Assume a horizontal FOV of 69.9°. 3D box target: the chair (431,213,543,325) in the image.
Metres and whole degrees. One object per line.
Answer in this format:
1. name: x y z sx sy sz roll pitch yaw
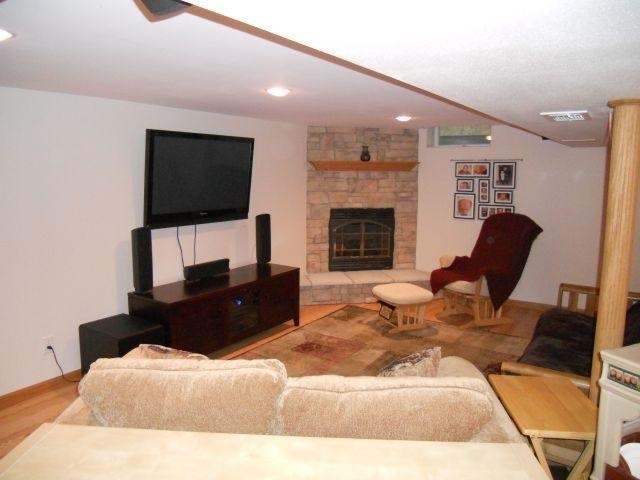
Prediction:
1. chair: 1.935 0.318 5.500 1.396 1.048 0.939 -11 12 -20

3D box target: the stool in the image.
1. stool: 0.981 0.714 5.152 0.643 0.393 0.661 -6 12 -22

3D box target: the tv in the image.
1. tv: -1.222 -0.622 4.497 0.140 0.798 1.388 22 16 36

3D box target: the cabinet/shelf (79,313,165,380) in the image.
1. cabinet/shelf: -1.684 0.747 3.731 0.589 0.465 0.562 14 19 34

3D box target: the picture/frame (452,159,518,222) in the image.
1. picture/frame: 2.159 -0.671 5.947 1.051 0.825 0.040 4 8 34

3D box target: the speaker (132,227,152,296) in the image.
1. speaker: -1.583 0.171 4.083 0.165 0.582 0.210 -1 9 -22

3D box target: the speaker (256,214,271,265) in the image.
1. speaker: -0.644 -0.015 5.186 0.153 0.559 0.170 0 9 -15

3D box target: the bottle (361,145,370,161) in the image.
1. bottle: 0.596 -1.155 6.084 0.145 0.234 0.198 2 8 4
